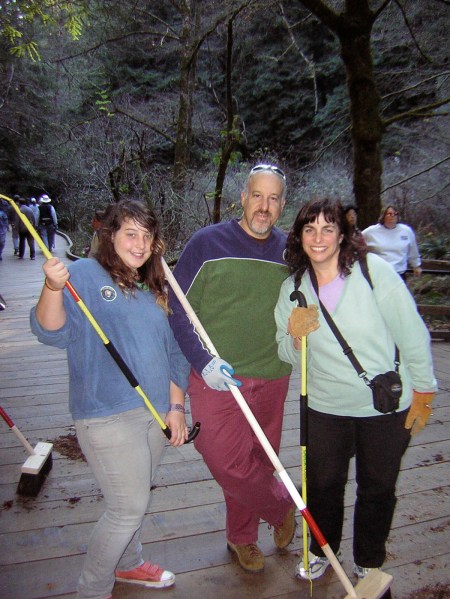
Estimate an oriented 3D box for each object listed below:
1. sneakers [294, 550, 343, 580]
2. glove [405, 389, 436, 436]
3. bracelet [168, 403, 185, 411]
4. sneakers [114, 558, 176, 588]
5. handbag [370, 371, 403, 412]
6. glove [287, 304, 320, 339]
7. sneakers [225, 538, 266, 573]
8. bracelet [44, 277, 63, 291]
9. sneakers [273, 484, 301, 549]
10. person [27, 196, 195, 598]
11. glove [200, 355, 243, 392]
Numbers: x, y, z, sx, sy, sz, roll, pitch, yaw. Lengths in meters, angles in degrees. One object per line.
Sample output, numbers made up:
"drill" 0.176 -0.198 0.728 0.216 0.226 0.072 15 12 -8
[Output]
"sneakers" 0.425 1.210 2.342 0.181 0.069 0.069 -3 9 -39
"glove" 0.785 0.454 2.089 0.113 0.184 0.052 15 7 -12
"bracelet" -0.211 0.467 2.182 0.044 0.019 0.045 2 1 33
"sneakers" -0.338 1.215 2.274 0.286 0.100 0.097 2 7 -3
"handbag" 0.628 0.359 1.970 0.101 0.150 0.146 5 14 40
"glove" 0.321 0.088 2.055 0.107 0.128 0.042 6 -19 41
"sneakers" 0.105 1.196 2.365 0.071 0.073 0.186 1 -4 -31
"bracelet" -0.586 -0.052 1.740 0.054 0.020 0.047 24 -3 33
"sneakers" 0.294 1.088 2.548 0.137 0.288 0.107 0 11 -32
"person" -0.416 0.445 2.013 0.451 1.666 0.652 4 9 19
"glove" -0.010 0.302 2.021 0.144 0.112 0.062 41 -3 10
